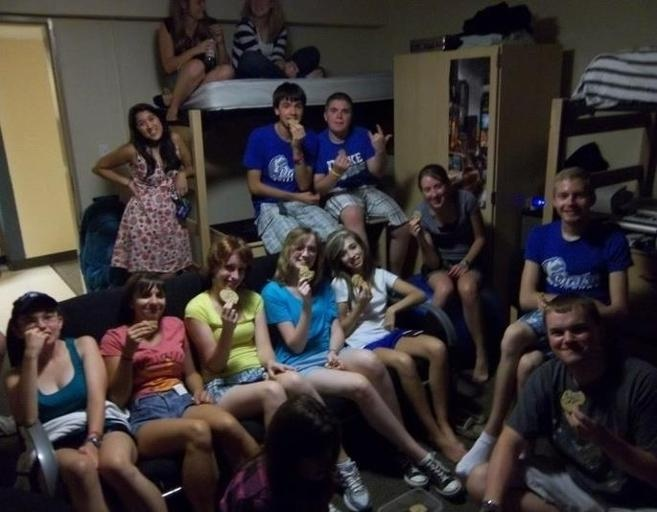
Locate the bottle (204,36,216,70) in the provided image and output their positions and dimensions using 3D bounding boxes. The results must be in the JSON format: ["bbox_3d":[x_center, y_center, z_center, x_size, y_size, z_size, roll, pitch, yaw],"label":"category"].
[{"bbox_3d":[-0.940,-1.614,4.080,0.108,0.232,0.066,-11,14,-42],"label":"bottle"}]

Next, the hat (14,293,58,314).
[{"bbox_3d":[-1.336,0.209,2.311,0.184,0.091,0.137,-9,13,-34],"label":"hat"}]

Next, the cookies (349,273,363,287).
[{"bbox_3d":[0.171,0.148,3.075,0.054,0.075,0.030,6,-33,0],"label":"cookies"}]

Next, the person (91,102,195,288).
[{"bbox_3d":[-1.417,-0.305,4.072,0.699,1.708,0.610,-7,28,-28],"label":"person"}]

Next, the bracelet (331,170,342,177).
[{"bbox_3d":[0.058,-0.636,3.882,0.051,0.041,0.053,-1,15,-16],"label":"bracelet"}]

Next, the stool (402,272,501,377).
[{"bbox_3d":[0.855,0.470,3.377,0.628,0.600,0.638,-25,-27,35],"label":"stool"}]

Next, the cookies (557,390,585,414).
[{"bbox_3d":[0.958,0.570,2.000,0.091,0.094,0.029,-45,-1,-15],"label":"cookies"}]

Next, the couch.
[{"bbox_3d":[-0.319,0.459,3.354,2.602,1.571,1.014,16,17,27],"label":"couch"}]

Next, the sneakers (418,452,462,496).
[{"bbox_3d":[0.578,1.142,2.669,0.106,0.119,0.291,-23,46,-29],"label":"sneakers"}]

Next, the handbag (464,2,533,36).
[{"bbox_3d":[1.293,-1.801,3.891,0.352,0.143,0.371,3,18,18],"label":"handbag"}]

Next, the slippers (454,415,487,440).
[{"bbox_3d":[0.860,1.019,3.031,0.137,0.045,0.108,-12,26,-26],"label":"slippers"}]
